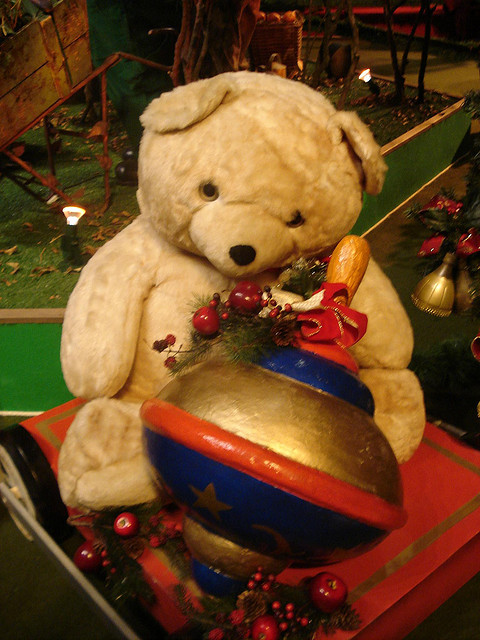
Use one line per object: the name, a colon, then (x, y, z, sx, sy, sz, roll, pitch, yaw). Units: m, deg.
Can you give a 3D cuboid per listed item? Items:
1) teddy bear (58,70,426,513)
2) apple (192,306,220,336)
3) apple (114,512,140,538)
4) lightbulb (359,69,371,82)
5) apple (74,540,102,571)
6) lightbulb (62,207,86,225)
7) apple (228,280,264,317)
teddy bear: (-0.043, -0.071, 1.400, 1.058, 0.945, 0.691, -14, 42, -18)
apple: (-0.082, 0.003, 1.270, 0.074, 0.064, 0.071, 11, 84, -9)
apple: (-0.281, 0.507, 1.323, 0.069, 0.061, 0.058, 0, 79, 9)
lightbulb: (0.926, -1.822, 3.985, 0.104, 0.115, 0.035, -30, 73, 4)
apple: (-0.391, 0.599, 1.356, 0.060, 0.057, 0.055, -22, 44, -26)
lightbulb: (-0.756, -0.476, 2.432, 0.090, 0.059, 0.084, 23, 7, -22)
apple: (0.011, -0.047, 1.328, 0.093, 0.084, 0.080, -6, 71, -10)
